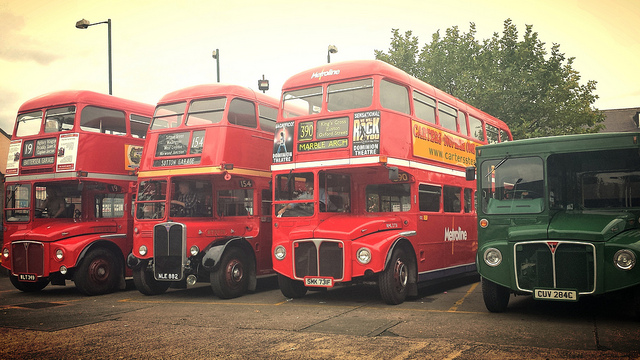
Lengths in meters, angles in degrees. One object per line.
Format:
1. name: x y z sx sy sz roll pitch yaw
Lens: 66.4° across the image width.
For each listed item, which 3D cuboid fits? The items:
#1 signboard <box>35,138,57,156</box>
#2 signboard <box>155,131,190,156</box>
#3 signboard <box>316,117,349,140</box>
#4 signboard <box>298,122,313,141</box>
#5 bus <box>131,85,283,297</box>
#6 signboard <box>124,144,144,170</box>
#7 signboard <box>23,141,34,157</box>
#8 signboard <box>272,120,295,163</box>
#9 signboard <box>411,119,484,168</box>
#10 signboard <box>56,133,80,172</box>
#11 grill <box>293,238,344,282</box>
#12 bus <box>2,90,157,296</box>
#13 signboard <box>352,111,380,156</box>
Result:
1. signboard: -10.152 -1.226 17.992 1.032 0.491 0.084 -2 0 22
2. signboard: -5.092 -1.231 16.889 1.539 0.959 0.040 0 -6 20
3. signboard: 0.347 -1.570 15.201 1.421 0.803 0.047 -8 20 -33
4. signboard: -0.452 -1.541 15.573 0.680 0.708 0.079 0 -6 28
5. bus: -3.829 0.513 16.729 3.408 4.768 7.562 -3 -5 25
6. signboard: -7.073 -0.947 18.956 1.213 1.098 0.112 1 1 28
7. signboard: -10.955 -1.157 18.327 0.682 0.692 0.077 0 -7 9
8. signboard: -1.195 -1.239 15.859 0.753 1.257 0.244 -2 0 29
9. signboard: 4.341 -1.224 17.118 0.098 1.602 4.107 -2 -1 43
10. signboard: -9.128 -1.013 17.619 0.949 1.114 0.179 -2 0 20
11. grill: 0.137 2.294 14.927 2.194 1.404 1.170 -1 -3 24
12. bus: -8.761 0.725 17.673 3.281 5.046 7.719 -2 -4 21
13. signboard: 1.405 -1.410 15.162 0.899 1.263 1.420 0 0 7
